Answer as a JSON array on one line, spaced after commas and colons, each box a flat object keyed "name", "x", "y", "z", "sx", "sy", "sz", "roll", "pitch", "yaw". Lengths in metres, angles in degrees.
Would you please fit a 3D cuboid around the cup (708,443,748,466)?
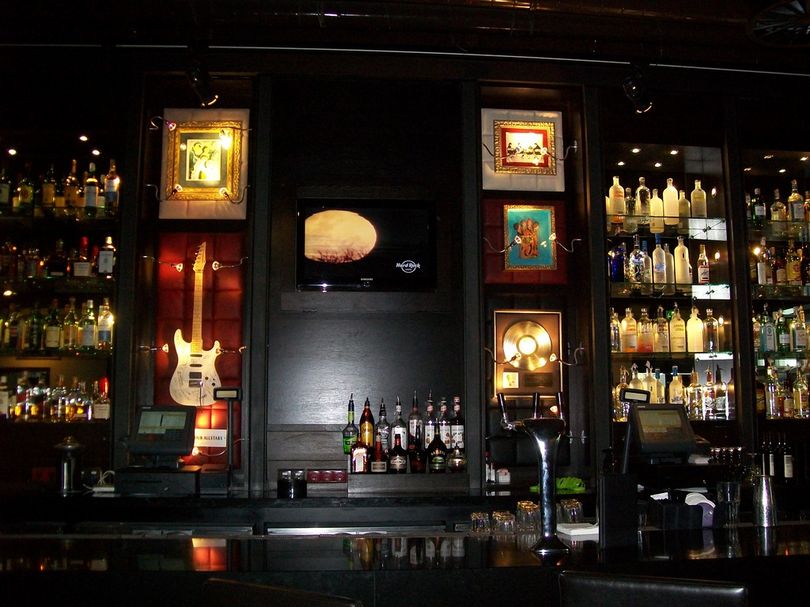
[{"name": "cup", "x": 2.084, "y": 0.971, "z": 5.610, "sx": 0.250, "sy": 0.128, "sz": 0.292, "roll": -3, "pitch": -10, "yaw": 19}]

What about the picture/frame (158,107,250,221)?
[{"name": "picture/frame", "x": -1.349, "y": -0.892, "z": 5.865, "sx": 0.797, "sy": 0.949, "sz": 0.095, "roll": 0, "pitch": -3, "yaw": -1}]

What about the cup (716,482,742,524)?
[{"name": "cup", "x": 1.559, "y": 0.954, "z": 4.223, "sx": 0.105, "sy": 0.198, "sz": 0.158, "roll": -3, "pitch": -10, "yaw": 19}]

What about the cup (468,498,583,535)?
[{"name": "cup", "x": 0.572, "y": 0.994, "z": 4.118, "sx": 0.515, "sy": 0.153, "sz": 0.220, "roll": -1, "pitch": -10, "yaw": 8}]

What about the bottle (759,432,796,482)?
[{"name": "bottle", "x": 2.450, "y": 1.009, "z": 5.790, "sx": 0.274, "sy": 0.302, "sz": 0.183, "roll": 1, "pitch": -10, "yaw": -4}]

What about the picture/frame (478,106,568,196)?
[{"name": "picture/frame", "x": 0.796, "y": -1.016, "z": 6.023, "sx": 0.685, "sy": 0.564, "sz": 0.073, "roll": 0, "pitch": -2, "yaw": -6}]

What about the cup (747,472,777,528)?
[{"name": "cup", "x": 1.745, "y": 0.955, "z": 4.256, "sx": 0.095, "sy": 0.240, "sz": 0.183, "roll": -3, "pitch": -10, "yaw": 20}]

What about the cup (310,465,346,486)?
[{"name": "cup", "x": -0.478, "y": 1.076, "z": 5.467, "sx": 0.246, "sy": 0.086, "sz": 0.120, "roll": 1, "pitch": -10, "yaw": -5}]

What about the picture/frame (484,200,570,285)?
[{"name": "picture/frame", "x": 0.810, "y": -0.402, "z": 5.996, "sx": 0.610, "sy": 0.560, "sz": 0.050, "roll": 0, "pitch": -2, "yaw": -3}]

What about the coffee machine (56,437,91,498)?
[{"name": "coffee machine", "x": -2.053, "y": 1.000, "z": 5.438, "sx": 0.202, "sy": 0.358, "sz": 0.465, "roll": 5, "pitch": -10, "yaw": -22}]
